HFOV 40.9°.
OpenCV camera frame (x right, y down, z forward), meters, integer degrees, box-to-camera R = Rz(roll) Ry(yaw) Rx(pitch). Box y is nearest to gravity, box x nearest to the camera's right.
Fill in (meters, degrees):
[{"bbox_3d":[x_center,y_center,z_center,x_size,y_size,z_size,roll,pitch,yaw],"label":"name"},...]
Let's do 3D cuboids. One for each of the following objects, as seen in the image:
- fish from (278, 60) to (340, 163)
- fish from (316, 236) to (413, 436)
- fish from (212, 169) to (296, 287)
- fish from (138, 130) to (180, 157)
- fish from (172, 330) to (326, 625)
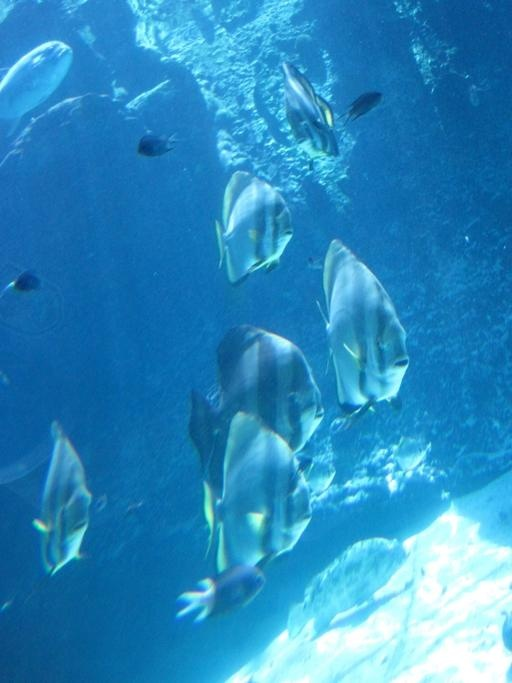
[{"bbox_3d":[0.255,-1.082,3.210,0.186,0.502,0.191,-5,29,47],"label":"fish"},{"bbox_3d":[0.395,-0.023,3.058,0.230,0.711,0.846,-12,12,-27],"label":"fish"},{"bbox_3d":[-0.048,-0.559,3.304,0.530,0.467,0.127,-6,7,37],"label":"fish"},{"bbox_3d":[-0.519,-1.024,3.586,0.158,0.122,0.259,-29,10,8],"label":"fish"},{"bbox_3d":[-0.081,0.744,3.293,0.450,1.063,1.403,6,-30,-18],"label":"fish"}]
